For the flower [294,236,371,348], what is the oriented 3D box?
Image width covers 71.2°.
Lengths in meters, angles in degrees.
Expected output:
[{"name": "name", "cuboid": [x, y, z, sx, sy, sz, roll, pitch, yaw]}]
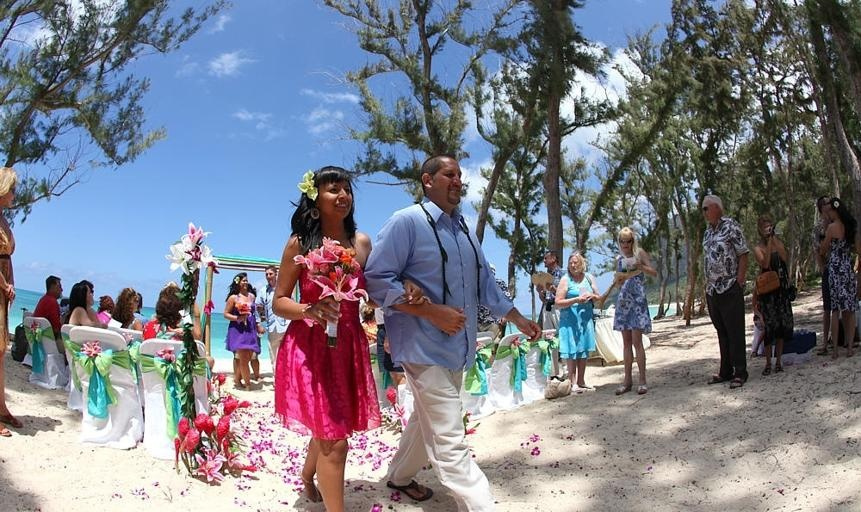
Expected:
[{"name": "flower", "cuboid": [-1.307, 0.546, 7.927, 1.140, 1.168, 1.054, 7, -2, 11]}]

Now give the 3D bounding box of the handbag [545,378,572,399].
[{"name": "handbag", "cuboid": [2.554, 2.536, 12.035, 0.444, 0.372, 0.317, -10, 5, -13]}]

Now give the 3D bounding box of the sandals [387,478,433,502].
[{"name": "sandals", "cuboid": [-0.285, 3.235, 8.541, 0.513, 0.162, 0.279, 6, 9, 26]}]

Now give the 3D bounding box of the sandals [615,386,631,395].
[{"name": "sandals", "cuboid": [3.699, 2.495, 11.528, 0.335, 0.137, 0.121, 7, -11, -41]}]

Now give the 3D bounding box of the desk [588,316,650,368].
[{"name": "desk", "cuboid": [4.458, 2.037, 15.059, 1.497, 1.464, 1.174, -3, -10, -9]}]

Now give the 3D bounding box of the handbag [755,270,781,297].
[{"name": "handbag", "cuboid": [6.175, 0.461, 10.965, 0.315, 0.444, 0.181, -20, 6, 12]}]

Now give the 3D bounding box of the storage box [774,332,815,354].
[{"name": "storage box", "cuboid": [7.126, 1.608, 11.704, 0.561, 0.234, 0.571, -4, -4, 37]}]

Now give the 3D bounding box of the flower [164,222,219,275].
[{"name": "flower", "cuboid": [-3.682, -0.143, 9.331, 0.435, 0.530, 0.525, -6, -11, -32]}]

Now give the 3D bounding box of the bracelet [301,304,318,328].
[{"name": "bracelet", "cuboid": [-1.574, 0.731, 7.777, 0.128, 0.211, 0.278, -13, 37, -29]}]

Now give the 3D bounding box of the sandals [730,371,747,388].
[{"name": "sandals", "cuboid": [5.447, 2.132, 10.630, 0.155, 0.166, 0.455, -17, -15, 36]}]

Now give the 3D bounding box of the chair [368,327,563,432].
[{"name": "chair", "cuboid": [0.613, 2.049, 10.048, 2.165, 0.894, 0.656, -4, 2, -29]}]

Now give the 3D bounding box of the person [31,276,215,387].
[{"name": "person", "cuboid": [-5.524, 1.410, 10.613, 2.327, 1.056, 0.786, 6, 2, 1]}]

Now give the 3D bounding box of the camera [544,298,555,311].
[{"name": "camera", "cuboid": [2.656, 1.032, 13.454, 0.172, 0.255, 0.239, -3, -13, 8]}]
